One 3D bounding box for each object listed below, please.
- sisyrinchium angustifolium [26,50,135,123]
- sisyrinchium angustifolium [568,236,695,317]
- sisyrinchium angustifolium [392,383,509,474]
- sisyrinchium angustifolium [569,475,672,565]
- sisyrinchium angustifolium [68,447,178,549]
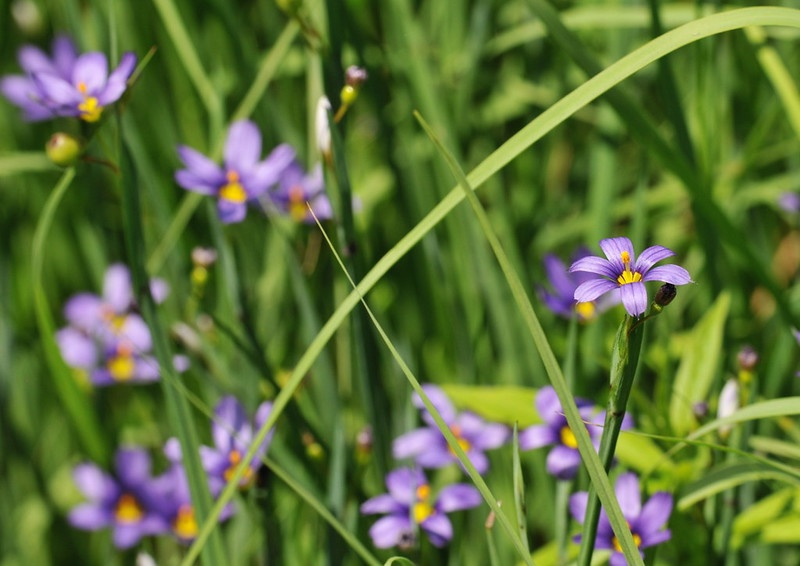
[{"bbox_3d":[-0.532,-0.334,1.619,0.160,0.097,0.140,9,38,34],"label":"sisyrinchium angustifolium"},{"bbox_3d":[0.356,-0.001,1.532,0.191,0.121,0.214,0,-14,33],"label":"sisyrinchium angustifolium"},{"bbox_3d":[0.103,0.308,1.905,0.229,0.192,0.197,-8,30,11],"label":"sisyrinchium angustifolium"},{"bbox_3d":[0.398,0.428,1.705,0.193,0.114,0.129,-16,30,-1],"label":"sisyrinchium angustifolium"},{"bbox_3d":[-0.503,0.388,1.672,0.167,0.132,0.139,-28,33,-21],"label":"sisyrinchium angustifolium"}]
